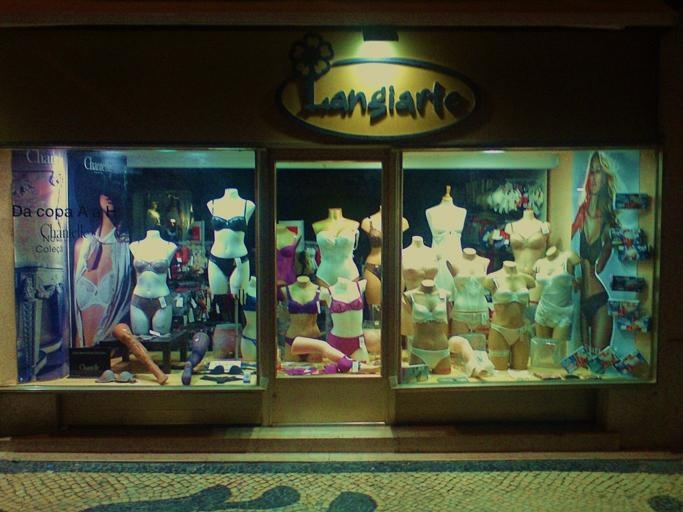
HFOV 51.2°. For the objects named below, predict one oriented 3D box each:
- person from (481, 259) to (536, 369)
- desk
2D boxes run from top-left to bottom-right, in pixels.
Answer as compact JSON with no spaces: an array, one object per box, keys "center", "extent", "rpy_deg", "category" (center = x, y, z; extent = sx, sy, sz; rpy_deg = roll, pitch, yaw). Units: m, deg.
[{"center":[1.561,0.638,6.537],"extent":[0.458,1.193,0.290],"rpy_deg":[-3,19,4],"category":"person"},{"center":[-1.779,0.825,6.308],"extent":[0.667,0.405,0.455],"rpy_deg":[3,8,10],"category":"desk"}]
